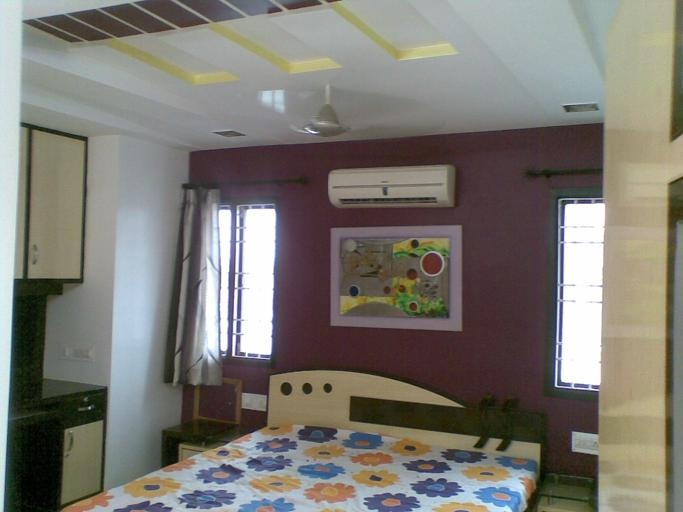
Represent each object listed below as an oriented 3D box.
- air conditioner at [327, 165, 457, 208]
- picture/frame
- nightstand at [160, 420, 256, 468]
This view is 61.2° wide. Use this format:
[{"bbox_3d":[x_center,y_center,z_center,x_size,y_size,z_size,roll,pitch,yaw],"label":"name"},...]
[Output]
[{"bbox_3d":[0.343,-0.448,3.789,0.812,0.268,0.238,2,8,27],"label":"air conditioner"},{"bbox_3d":[0.404,0.150,3.819,0.767,0.528,0.032,1,2,21],"label":"picture/frame"},{"bbox_3d":[-1.017,1.230,4.225,0.509,0.455,0.341,-3,-5,33],"label":"nightstand"}]
